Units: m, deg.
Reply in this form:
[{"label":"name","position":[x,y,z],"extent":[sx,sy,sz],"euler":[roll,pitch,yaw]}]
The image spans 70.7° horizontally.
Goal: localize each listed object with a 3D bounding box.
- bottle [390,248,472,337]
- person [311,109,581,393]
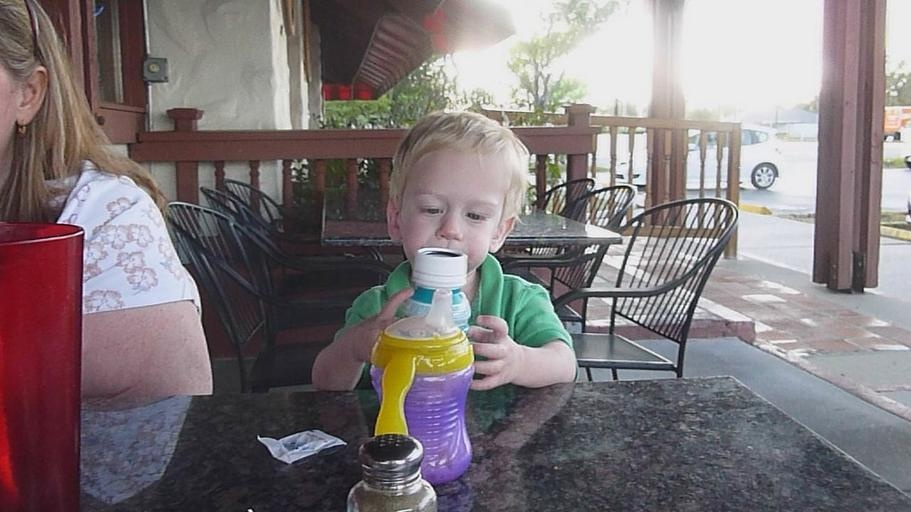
[{"label":"bottle","position":[-0.047,0.097,1.416],"extent":[0.165,0.196,0.153],"euler":[6,10,-1]},{"label":"person","position":[-0.086,0.064,2.034],"extent":[0.873,0.962,0.747],"euler":[3,5,-7]}]
